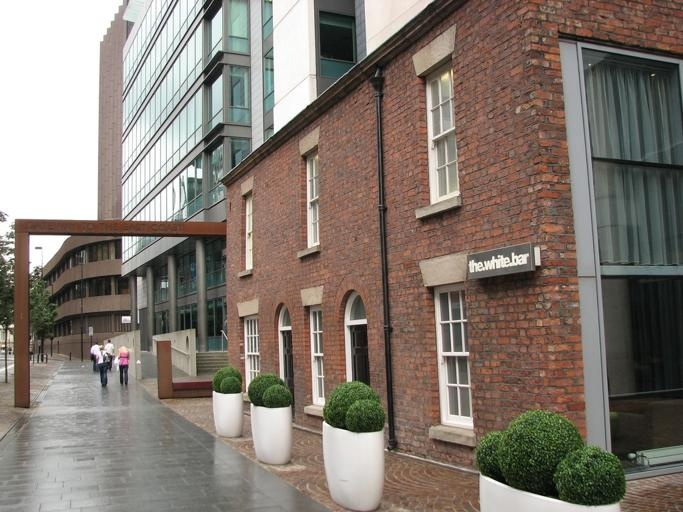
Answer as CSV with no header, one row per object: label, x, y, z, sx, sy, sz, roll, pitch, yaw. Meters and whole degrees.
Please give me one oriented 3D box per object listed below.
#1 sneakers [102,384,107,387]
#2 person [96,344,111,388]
sneakers,-11.642,6.372,27.335,0.141,0.153,0.078,0,-3,-16
person,-11.820,5.418,27.580,0.474,1.590,0.515,-2,-5,-10
